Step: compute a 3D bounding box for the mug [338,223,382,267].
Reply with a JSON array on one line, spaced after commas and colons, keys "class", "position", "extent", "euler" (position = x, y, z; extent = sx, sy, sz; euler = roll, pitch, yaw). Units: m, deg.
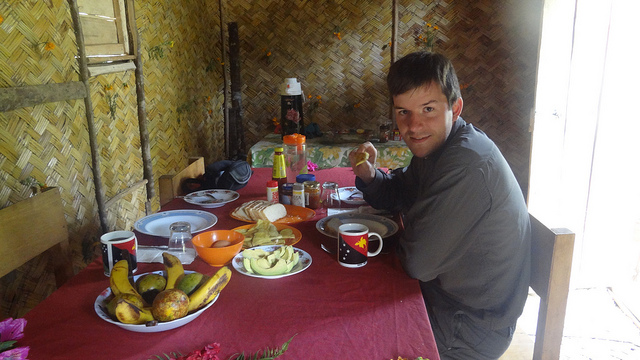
[{"class": "mug", "position": [0.230, 0.369, 2.333], "extent": [0.259, 0.193, 0.162], "euler": [1, 4, -17]}]

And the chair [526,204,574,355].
[{"class": "chair", "position": [1.262, 0.582, 2.304], "extent": [0.194, 0.722, 0.294], "euler": [2, 13, 22]}]

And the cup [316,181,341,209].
[{"class": "cup", "position": [0.067, 0.109, 2.796], "extent": [0.143, 0.182, 0.176], "euler": [1, 2, 2]}]

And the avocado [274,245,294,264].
[{"class": "avocado", "position": [-0.190, 0.387, 2.299], "extent": [0.083, 0.046, 0.133], "euler": [30, 39, -4]}]

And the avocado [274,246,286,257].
[{"class": "avocado", "position": [-0.216, 0.388, 2.279], "extent": [0.039, 0.019, 0.052], "euler": [-10, 43, 25]}]

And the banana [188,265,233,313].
[{"class": "banana", "position": [-0.529, 0.530, 2.078], "extent": [0.317, 0.105, 0.084], "euler": [-45, 19, -30]}]

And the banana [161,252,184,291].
[{"class": "banana", "position": [-0.726, 0.461, 2.091], "extent": [0.105, 0.065, 0.242], "euler": [-6, 35, -20]}]

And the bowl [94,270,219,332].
[{"class": "bowl", "position": [-0.813, 0.619, 1.988], "extent": [0.353, 0.077, 0.332], "euler": [4, 12, -1]}]

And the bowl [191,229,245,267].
[{"class": "bowl", "position": [-0.563, 0.354, 2.297], "extent": [0.217, 0.118, 0.215], "euler": [-1, 3, 0]}]

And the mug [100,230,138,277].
[{"class": "mug", "position": [-1.071, 0.367, 2.280], "extent": [0.168, 0.219, 0.261], "euler": [8, 19, -1]}]

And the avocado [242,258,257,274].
[{"class": "avocado", "position": [-0.368, 0.451, 2.212], "extent": [0.020, 0.067, 0.055], "euler": [-22, 6, 35]}]

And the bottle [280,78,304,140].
[{"class": "bottle", "position": [-0.297, -0.824, 4.749], "extent": [0.304, 0.628, 0.234], "euler": [-8, 13, -23]}]

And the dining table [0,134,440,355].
[{"class": "dining table", "position": [-0.443, 0.402, 2.397], "extent": [1.907, 0.631, 1.243], "euler": [-3, 11, -1]}]
